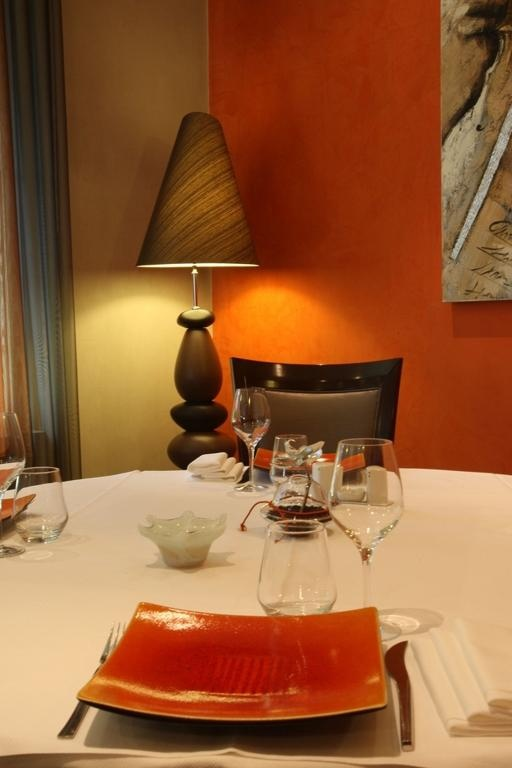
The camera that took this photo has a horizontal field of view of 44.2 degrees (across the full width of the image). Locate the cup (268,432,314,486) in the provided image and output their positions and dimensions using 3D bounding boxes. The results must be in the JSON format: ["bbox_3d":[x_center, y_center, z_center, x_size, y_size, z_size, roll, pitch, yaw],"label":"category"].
[{"bbox_3d":[0.041,0.132,1.117,0.079,0.111,0.080,1,-10,0],"label":"cup"}]

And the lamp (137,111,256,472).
[{"bbox_3d":[-0.232,-0.392,2.773,0.427,1.544,0.465,10,15,32],"label":"lamp"}]

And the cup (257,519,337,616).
[{"bbox_3d":[0.036,0.176,0.621,0.087,0.084,0.071,-2,-1,12],"label":"cup"}]

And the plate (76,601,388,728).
[{"bbox_3d":[-0.014,0.218,0.508,0.226,0.049,0.172,4,12,9],"label":"plate"}]
